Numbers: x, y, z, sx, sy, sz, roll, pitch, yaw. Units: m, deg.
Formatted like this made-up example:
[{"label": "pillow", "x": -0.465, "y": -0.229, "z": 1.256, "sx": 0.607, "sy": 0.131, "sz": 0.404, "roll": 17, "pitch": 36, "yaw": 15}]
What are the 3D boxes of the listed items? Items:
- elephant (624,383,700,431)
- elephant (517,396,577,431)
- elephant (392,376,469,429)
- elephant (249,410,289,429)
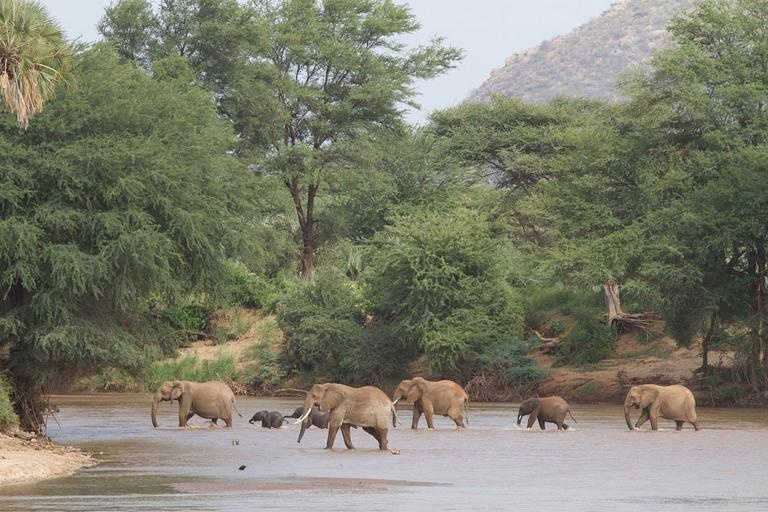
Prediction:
[{"label": "elephant", "x": 11.132, "y": 6.136, "z": 54.542, "sx": 3.087, "sy": 1.817, "sz": 1.062, "roll": 2, "pitch": 0, "yaw": -2}, {"label": "elephant", "x": 6.456, "y": 6.274, "z": 55.067, "sx": 1.563, "sy": 1.734, "sz": 3.205, "roll": 0, "pitch": 10, "yaw": -9}, {"label": "elephant", "x": 2.006, "y": 5.990, "z": 55.442, "sx": 2.491, "sy": 2.118, "sz": 2.713, "roll": -1, "pitch": -8, "yaw": 17}, {"label": "elephant", "x": -4.822, "y": 6.680, "z": 56.203, "sx": 1.200, "sy": 0.717, "sz": 0.704, "roll": 5, "pitch": 2, "yaw": 16}]
